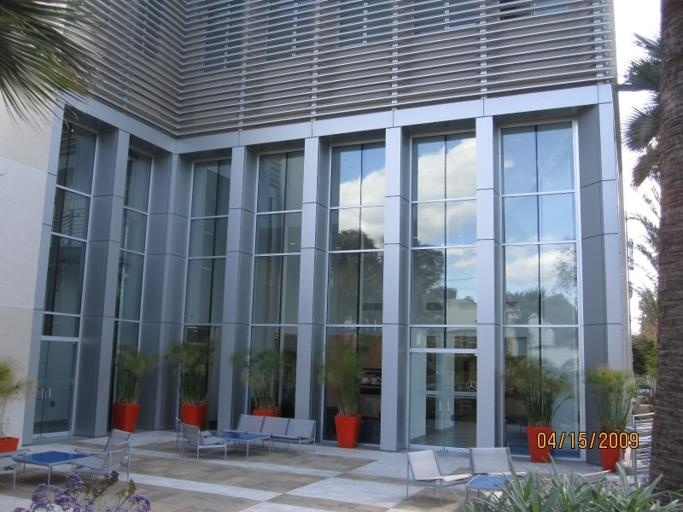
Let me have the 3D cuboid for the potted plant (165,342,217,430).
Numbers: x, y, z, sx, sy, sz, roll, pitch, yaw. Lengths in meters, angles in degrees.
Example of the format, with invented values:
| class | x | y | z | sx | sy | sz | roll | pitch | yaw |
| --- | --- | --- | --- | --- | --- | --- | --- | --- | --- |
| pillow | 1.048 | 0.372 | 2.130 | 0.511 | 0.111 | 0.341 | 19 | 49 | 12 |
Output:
| class | x | y | z | sx | sy | sz | roll | pitch | yaw |
| --- | --- | --- | --- | --- | --- | --- | --- | --- | --- |
| potted plant | -4.580 | 4.226 | 18.241 | 1.357 | 2.401 | 1.458 | 6 | -13 | -44 |

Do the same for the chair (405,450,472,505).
| class | x | y | z | sx | sy | sz | roll | pitch | yaw |
| --- | --- | --- | --- | --- | --- | --- | --- | --- | --- |
| chair | 1.840 | 4.113 | 10.978 | 0.857 | 0.675 | 0.994 | 8 | -15 | -33 |

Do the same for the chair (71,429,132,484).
| class | x | y | z | sx | sy | sz | roll | pitch | yaw |
| --- | --- | --- | --- | --- | --- | --- | --- | --- | --- |
| chair | -4.632 | 3.935 | 11.065 | 1.018 | 0.861 | 0.782 | -3 | -5 | 3 |

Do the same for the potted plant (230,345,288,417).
| class | x | y | z | sx | sy | sz | roll | pitch | yaw |
| --- | --- | --- | --- | --- | --- | --- | --- | --- | --- |
| potted plant | -2.223 | 3.851 | 17.958 | 2.207 | 2.420 | 1.780 | -5 | -14 | 14 |

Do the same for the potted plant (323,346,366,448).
| class | x | y | z | sx | sy | sz | roll | pitch | yaw |
| --- | --- | --- | --- | --- | --- | --- | --- | --- | --- |
| potted plant | 0.068 | 4.041 | 16.492 | 0.988 | 2.678 | 0.806 | 2 | -7 | 1 |

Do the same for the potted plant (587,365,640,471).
| class | x | y | z | sx | sy | sz | roll | pitch | yaw |
| --- | --- | --- | --- | --- | --- | --- | --- | --- | --- |
| potted plant | 6.432 | 3.848 | 13.658 | 1.004 | 2.399 | 0.748 | -2 | -8 | 26 |

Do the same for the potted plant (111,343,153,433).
| class | x | y | z | sx | sy | sz | roll | pitch | yaw |
| --- | --- | --- | --- | --- | --- | --- | --- | --- | --- |
| potted plant | -6.365 | 3.987 | 17.526 | 1.029 | 2.580 | 1.061 | 5 | -8 | -21 |

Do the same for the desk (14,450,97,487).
| class | x | y | z | sx | sy | sz | roll | pitch | yaw |
| --- | --- | --- | --- | --- | --- | --- | --- | --- | --- |
| desk | -5.535 | 3.890 | 11.130 | 0.918 | 0.435 | 0.919 | -4 | -13 | 23 |
